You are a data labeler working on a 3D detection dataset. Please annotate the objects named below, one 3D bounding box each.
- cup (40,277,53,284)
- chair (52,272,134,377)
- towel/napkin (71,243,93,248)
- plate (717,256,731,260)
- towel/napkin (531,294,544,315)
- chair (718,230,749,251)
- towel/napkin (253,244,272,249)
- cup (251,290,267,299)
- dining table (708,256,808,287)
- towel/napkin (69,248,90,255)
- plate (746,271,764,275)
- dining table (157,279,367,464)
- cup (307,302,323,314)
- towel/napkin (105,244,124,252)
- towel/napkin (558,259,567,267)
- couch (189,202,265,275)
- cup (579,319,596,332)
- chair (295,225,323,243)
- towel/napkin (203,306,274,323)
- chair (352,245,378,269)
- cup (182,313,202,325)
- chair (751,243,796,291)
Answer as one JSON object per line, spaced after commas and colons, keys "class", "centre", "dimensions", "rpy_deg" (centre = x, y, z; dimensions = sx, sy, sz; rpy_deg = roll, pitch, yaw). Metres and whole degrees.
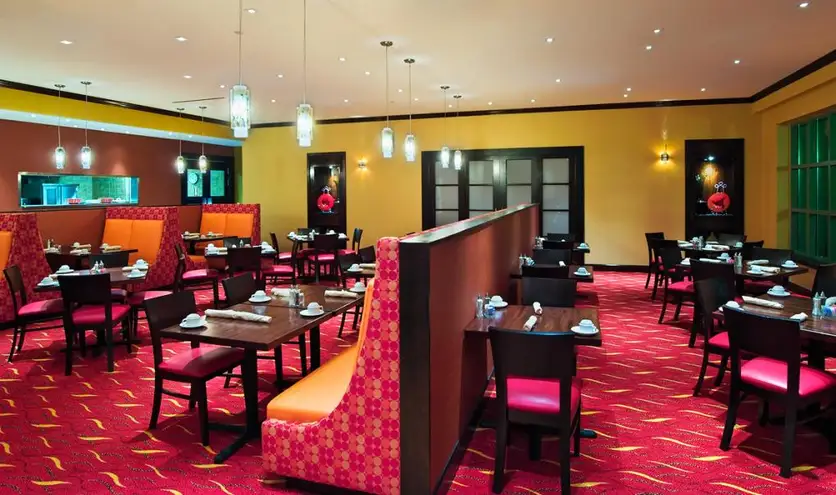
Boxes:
{"class": "cup", "centre": [-5.466, 0.490, 8.402], "dimensions": [0.149, 0.076, 0.221], "rpy_deg": [1, -1, -37]}
{"class": "chair", "centre": [-4.505, 0.994, 8.011], "dimensions": [0.835, 1.337, 1.029], "rpy_deg": [-2, 5, -27]}
{"class": "towel/napkin", "centre": [-6.678, -0.033, 11.290], "dimensions": [0.264, 0.087, 0.273], "rpy_deg": [0, 0, 21]}
{"class": "plate", "centre": [4.879, 0.160, 9.143], "dimensions": [0.122, 0.038, 0.117], "rpy_deg": [-6, 7, -18]}
{"class": "towel/napkin", "centre": [1.420, 0.693, 6.829], "dimensions": [0.192, 0.169, 0.696], "rpy_deg": [0, 0, 13]}
{"class": "chair", "centre": [6.089, -0.135, 11.049], "dimensions": [0.479, 0.493, 0.420], "rpy_deg": [2, -4, -43]}
{"class": "towel/napkin", "centre": [-2.917, -0.017, 10.813], "dimensions": [0.262, 0.057, 0.237], "rpy_deg": [2, 4, 6]}
{"class": "cup", "centre": [-1.975, 0.589, 7.048], "dimensions": [0.145, 0.085, 0.108], "rpy_deg": [-8, -1, 25]}
{"class": "dining table", "centre": [5.080, 0.373, 8.354], "dimensions": [0.758, 0.555, 0.805], "rpy_deg": [3, 7, 38]}
{"class": "towel/napkin", "centre": [-6.294, 0.077, 10.575], "dimensions": [0.314, 0.070, 0.303], "rpy_deg": [1, 4, 1]}
{"class": "plate", "centre": [4.877, 0.369, 8.269], "dimensions": [0.207, 0.046, 0.213], "rpy_deg": [3, 5, 26]}
{"class": "dining table", "centre": [-1.718, 0.999, 6.705], "dimensions": [1.603, 1.413, 3.008], "rpy_deg": [3, 7, 17]}
{"class": "cup", "centre": [-1.207, 0.705, 6.675], "dimensions": [0.148, 0.089, 0.108], "rpy_deg": [2, 2, 6]}
{"class": "towel/napkin", "centre": [-6.123, -0.008, 11.448], "dimensions": [0.321, 0.112, 0.780], "rpy_deg": [-2, 5, -25]}
{"class": "towel/napkin", "centre": [2.301, 0.261, 9.233], "dimensions": [0.098, 0.131, 0.102], "rpy_deg": [-3, -5, -8]}
{"class": "couch", "centre": [-4.384, -0.135, 14.342], "dimensions": [2.121, 1.920, 1.494], "rpy_deg": [0, -1, 15]}
{"class": "cup", "centre": [1.789, 0.834, 6.063], "dimensions": [0.148, 0.072, 0.129], "rpy_deg": [0, 3, 18]}
{"class": "chair", "centre": [-2.448, -0.294, 12.797], "dimensions": [0.460, 0.612, 0.632], "rpy_deg": [1, -4, -17]}
{"class": "towel/napkin", "centre": [-2.045, 0.784, 6.575], "dimensions": [0.658, 0.090, 0.109], "rpy_deg": [3, -1, 13]}
{"class": "chair", "centre": [-0.820, 0.160, 9.190], "dimensions": [0.347, 0.421, 0.361], "rpy_deg": [-4, 5, -40]}
{"class": "cup", "centre": [-2.520, 0.801, 6.353], "dimensions": [0.173, 0.109, 0.124], "rpy_deg": [-4, 7, -25]}
{"class": "chair", "centre": [5.705, 0.323, 9.134], "dimensions": [0.728, 0.985, 0.605], "rpy_deg": [3, -5, -35]}
